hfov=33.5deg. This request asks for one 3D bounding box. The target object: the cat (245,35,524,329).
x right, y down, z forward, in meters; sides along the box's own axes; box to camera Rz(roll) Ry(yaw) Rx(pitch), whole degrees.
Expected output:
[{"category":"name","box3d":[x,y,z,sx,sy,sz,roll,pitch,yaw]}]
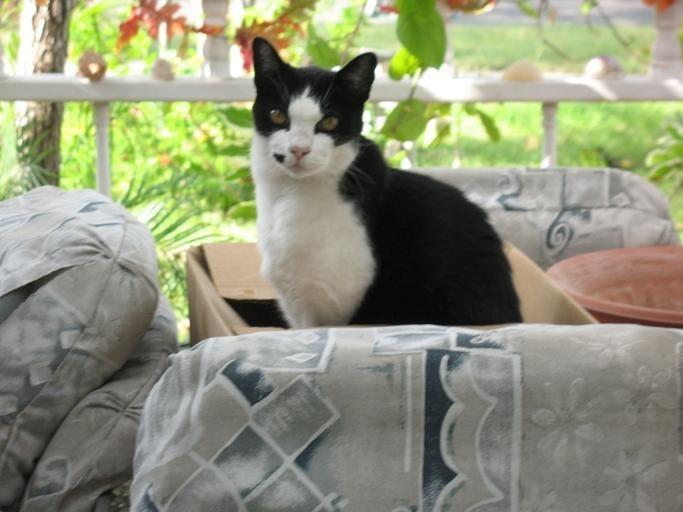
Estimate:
[{"category":"cat","box3d":[0.034,-0.095,2.972,0.499,0.826,0.696,18,22,33]}]
